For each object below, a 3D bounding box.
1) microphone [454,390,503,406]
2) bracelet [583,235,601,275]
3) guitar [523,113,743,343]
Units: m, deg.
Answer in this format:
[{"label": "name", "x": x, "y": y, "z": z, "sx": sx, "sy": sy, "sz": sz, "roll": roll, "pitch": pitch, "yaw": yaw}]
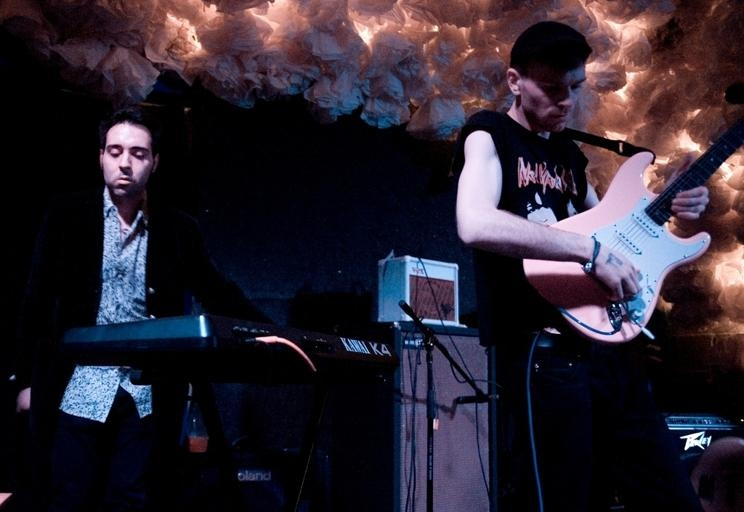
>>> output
[{"label": "microphone", "x": 0.559, "y": 0.781, "z": 3.982, "sx": 0.172, "sy": 0.045, "sz": 0.131, "roll": -5, "pitch": -7, "yaw": 6}, {"label": "bracelet", "x": 0.817, "y": -0.012, "z": 2.730, "sx": 0.028, "sy": 0.110, "sz": 0.086, "roll": 13, "pitch": -9, "yaw": 0}, {"label": "guitar", "x": 1.104, "y": -0.103, "z": 3.013, "sx": 1.160, "sy": 0.137, "sz": 0.431, "roll": -41, "pitch": 85, "yaw": -25}]
